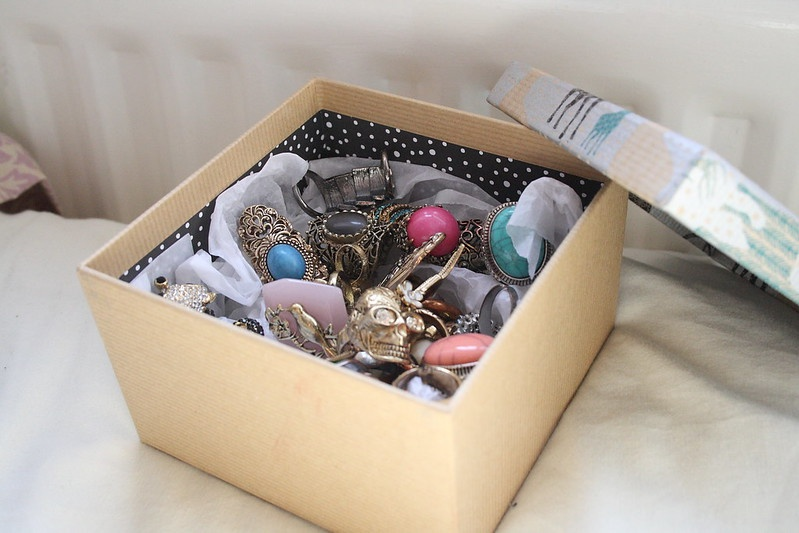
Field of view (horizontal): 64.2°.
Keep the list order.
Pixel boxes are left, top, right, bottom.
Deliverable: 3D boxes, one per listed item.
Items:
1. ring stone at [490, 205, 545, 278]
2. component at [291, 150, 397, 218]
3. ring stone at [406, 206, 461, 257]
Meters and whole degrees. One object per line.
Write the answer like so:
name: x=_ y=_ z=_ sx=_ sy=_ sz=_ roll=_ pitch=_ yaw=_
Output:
ring stone: x=0.204 y=-0.037 z=1.137 sx=0.101 sy=0.128 sz=0.033 roll=1 pitch=-1 yaw=-8
component: x=-0.099 y=-0.150 z=1.239 sx=0.176 sy=0.104 sz=0.126 roll=-9 pitch=66 yaw=-6
ring stone: x=0.064 y=-0.069 z=1.227 sx=0.089 sy=0.088 sz=0.069 roll=39 pitch=36 yaw=-11
